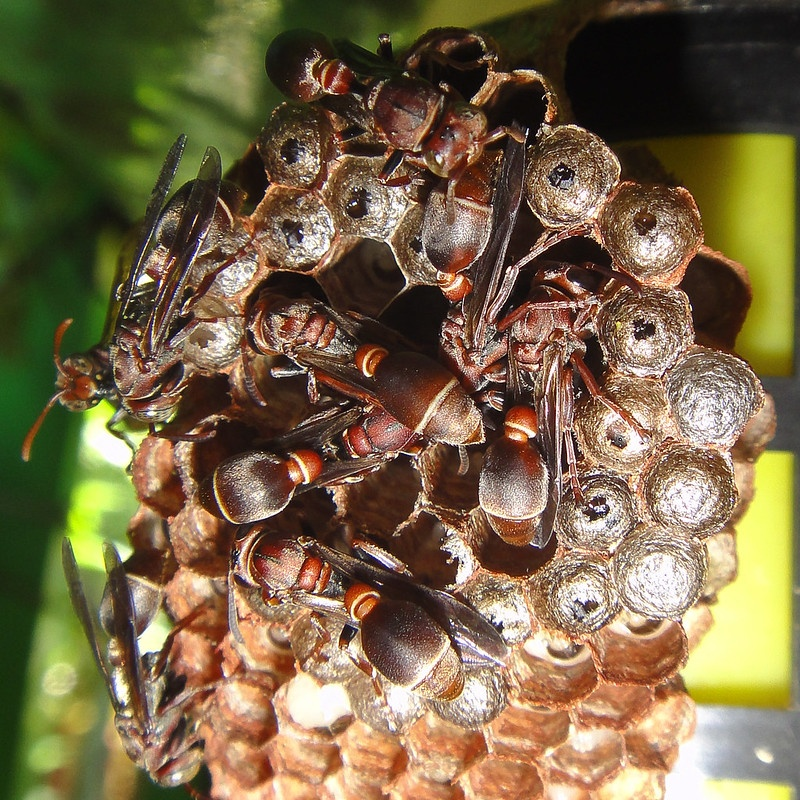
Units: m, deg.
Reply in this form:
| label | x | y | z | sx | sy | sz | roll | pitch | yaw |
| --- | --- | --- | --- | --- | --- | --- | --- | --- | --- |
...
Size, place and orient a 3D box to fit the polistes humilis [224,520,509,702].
| label | x | y | z | sx | sy | sz | roll | pitch | yaw |
| --- | --- | --- | --- | --- | --- | --- | --- | --- | --- |
| polistes humilis | -0.069 | 0.560 | 2.751 | 0.644 | 0.185 | 0.413 | 24 | 72 | 24 |
